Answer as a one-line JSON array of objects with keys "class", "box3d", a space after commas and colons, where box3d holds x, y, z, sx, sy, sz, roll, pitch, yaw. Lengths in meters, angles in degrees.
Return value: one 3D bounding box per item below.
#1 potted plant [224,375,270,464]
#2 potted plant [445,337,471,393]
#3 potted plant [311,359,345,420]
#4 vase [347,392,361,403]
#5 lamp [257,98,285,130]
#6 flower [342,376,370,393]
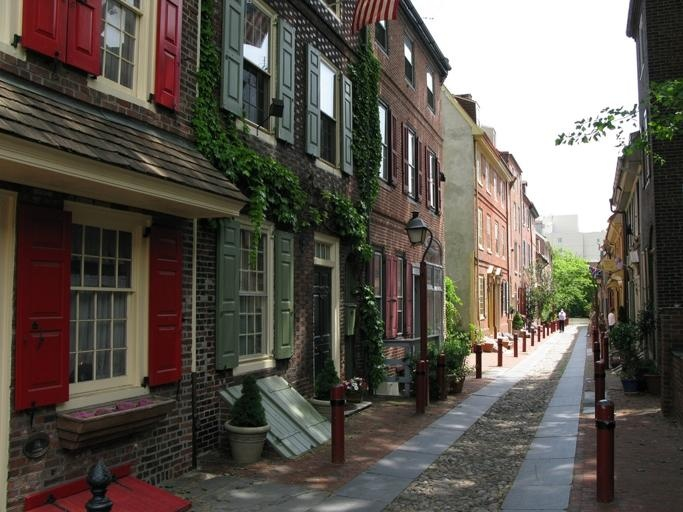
[{"class": "potted plant", "box3d": [-1.441, 2.496, 9.529, 0.735, 1.261, 0.683, 9, -9, -36]}, {"class": "potted plant", "box3d": [3.023, 2.798, 16.142, 0.562, 1.426, 2.092, -6, -10, 11]}, {"class": "potted plant", "box3d": [-0.274, 2.577, 12.168, 0.591, 1.143, 0.574, 16, -7, -40]}, {"class": "vase", "box3d": [0.273, 2.984, 13.131, 0.236, 0.199, 0.224, 4, -8, -44]}, {"class": "lamp", "box3d": [-1.268, -2.609, 11.130, 0.418, 0.685, 0.810, -3, -10, -11]}, {"class": "flower", "box3d": [0.327, 2.752, 13.284, 0.372, 0.331, 0.407, 2, -4, 9]}]
